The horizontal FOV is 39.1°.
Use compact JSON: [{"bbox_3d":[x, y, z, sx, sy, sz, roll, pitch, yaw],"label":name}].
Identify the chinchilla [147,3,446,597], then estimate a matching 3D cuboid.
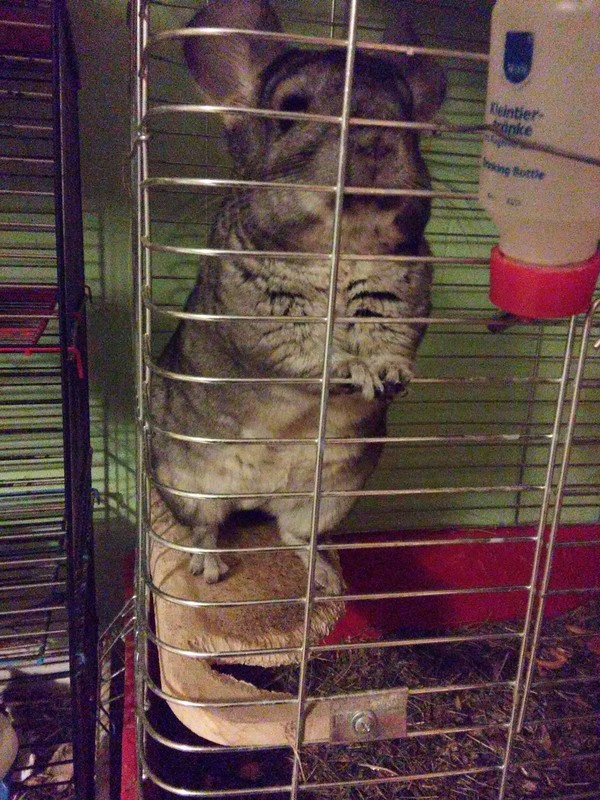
[{"bbox_3d":[0.026,-0.205,1.628,0.607,1.157,0.686,-5,30,-20],"label":"chinchilla"}]
